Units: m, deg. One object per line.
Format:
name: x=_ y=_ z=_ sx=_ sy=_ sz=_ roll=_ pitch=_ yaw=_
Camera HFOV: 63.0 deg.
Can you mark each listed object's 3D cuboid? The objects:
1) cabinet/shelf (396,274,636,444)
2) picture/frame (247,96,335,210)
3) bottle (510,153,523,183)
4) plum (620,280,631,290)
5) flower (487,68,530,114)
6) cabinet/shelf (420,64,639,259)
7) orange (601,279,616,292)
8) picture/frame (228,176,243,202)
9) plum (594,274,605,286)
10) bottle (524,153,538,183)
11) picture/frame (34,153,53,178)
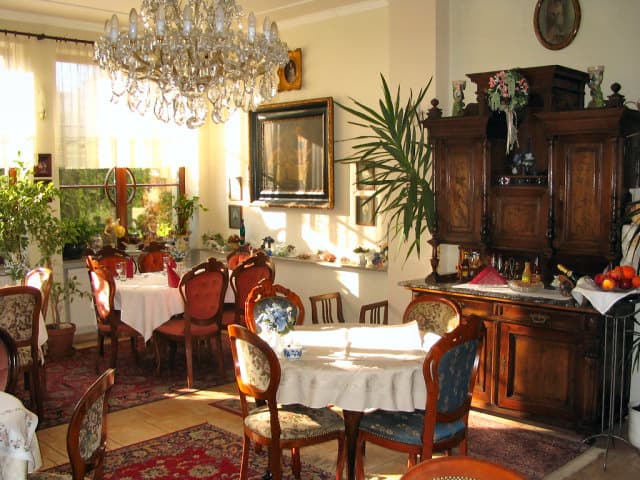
cabinet/shelf: x=2.025 y=0.571 z=4.992 sx=2.410 sy=1.672 sz=0.976 roll=4 pitch=5 yaw=42
picture/frame: x=-0.343 y=-1.217 z=7.222 sx=1.490 sy=1.619 sz=0.112 roll=3 pitch=5 yaw=41
bottle: x=1.884 y=-0.700 z=5.020 sx=0.067 sy=0.232 sz=0.152 roll=4 pitch=-5 yaw=0
plum: x=2.386 y=0.350 z=4.089 sx=0.054 sy=0.066 sz=0.062 roll=-3 pitch=-7 yaw=25
flower: x=1.673 y=-1.348 z=4.684 sx=0.317 sy=0.362 sz=0.338 roll=17 pitch=25 yaw=24
cabinet/shelf: x=1.972 y=-0.687 z=4.786 sx=0.487 sy=1.634 sz=1.635 roll=-4 pitch=6 yaw=-43
orange: x=2.262 y=0.355 z=4.112 sx=0.081 sy=0.090 sz=0.084 roll=-13 pitch=-22 yaw=37
picture/frame: x=-1.299 y=-0.797 z=8.202 sx=0.048 sy=0.410 sz=0.365 roll=0 pitch=2 yaw=-36
plum: x=2.238 y=0.324 z=4.185 sx=0.079 sy=0.096 sz=0.080 roll=-24 pitch=-3 yaw=30
bottle: x=1.981 y=-0.690 z=4.986 sx=0.092 sy=0.266 sz=0.148 roll=10 pitch=-18 yaw=-28
picture/frame: x=-3.685 y=-1.002 z=6.997 sx=0.025 sy=0.393 sz=0.287 roll=7 pitch=9 yaw=44
